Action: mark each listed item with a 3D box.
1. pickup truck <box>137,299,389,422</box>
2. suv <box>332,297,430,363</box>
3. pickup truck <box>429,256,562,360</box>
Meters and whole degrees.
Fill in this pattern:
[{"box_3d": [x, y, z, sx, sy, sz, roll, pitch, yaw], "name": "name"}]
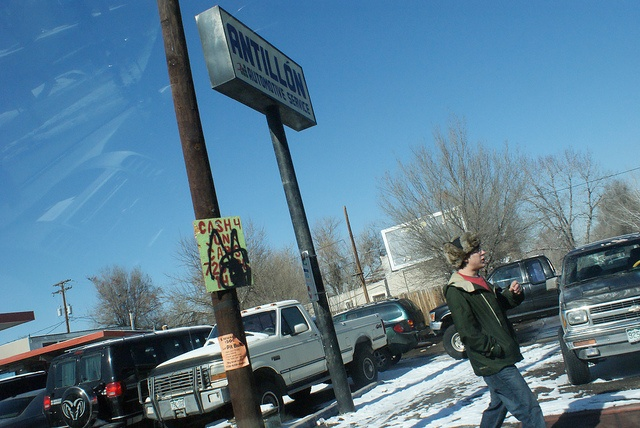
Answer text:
[{"box_3d": [-1.005, 3.284, 11.632, 2.614, 2.111, 5.363, -19, -17, 31], "name": "pickup truck"}, {"box_3d": [2.090, 4.172, 17.110, 3.550, 1.680, 1.946, -3, -5, 26], "name": "suv"}, {"box_3d": [4.949, 2.885, 14.709, 5.119, 2.599, 2.965, -7, -8, 15], "name": "pickup truck"}]
